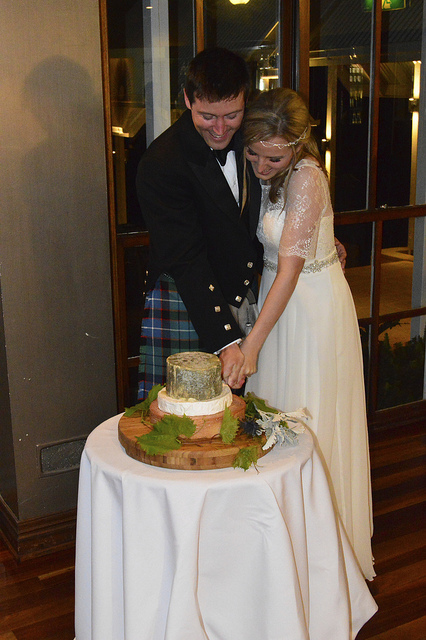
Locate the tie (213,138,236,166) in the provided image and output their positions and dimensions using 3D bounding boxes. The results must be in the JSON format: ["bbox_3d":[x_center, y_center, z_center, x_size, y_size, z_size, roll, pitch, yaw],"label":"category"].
[{"bbox_3d":[0.033,-0.482,1.593,0.048,0.069,0.035,-5,14,-22],"label":"tie"}]

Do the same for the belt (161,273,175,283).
[{"bbox_3d":[-0.133,-0.125,1.628,0.026,0.034,0.008,-43,-4,-20],"label":"belt"}]

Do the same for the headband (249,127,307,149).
[{"bbox_3d":[0.182,-0.485,1.475,0.165,0.057,0.035,-5,10,-25],"label":"headband"}]

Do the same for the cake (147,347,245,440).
[{"bbox_3d":[-0.039,0.120,1.106,0.163,0.106,0.165,-8,18,-23],"label":"cake"}]

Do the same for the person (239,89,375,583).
[{"bbox_3d":[0.294,0.132,1.642,0.403,1.537,0.447,2,9,15],"label":"person"}]

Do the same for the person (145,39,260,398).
[{"bbox_3d":[-0.020,-0.236,1.571,0.360,0.963,0.427,-2,9,-6],"label":"person"}]
